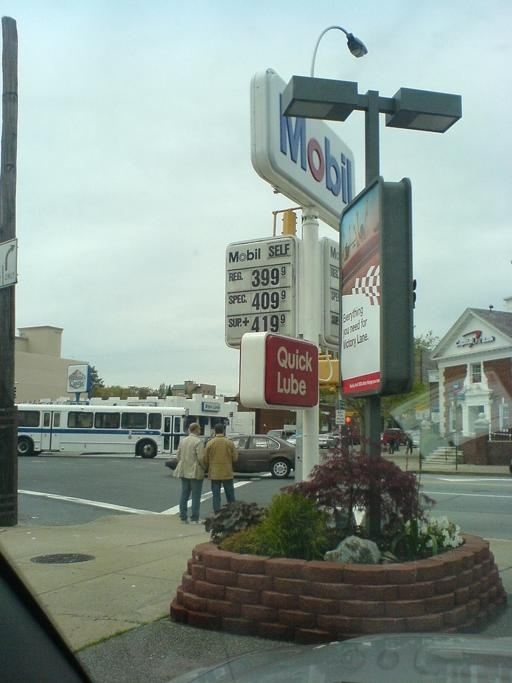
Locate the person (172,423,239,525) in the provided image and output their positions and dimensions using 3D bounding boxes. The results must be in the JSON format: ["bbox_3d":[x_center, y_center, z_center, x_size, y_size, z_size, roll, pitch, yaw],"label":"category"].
[{"bbox_3d":[-0.739,1.891,11.176,0.866,1.428,1.362,0,-6,-4],"label":"person"}]
